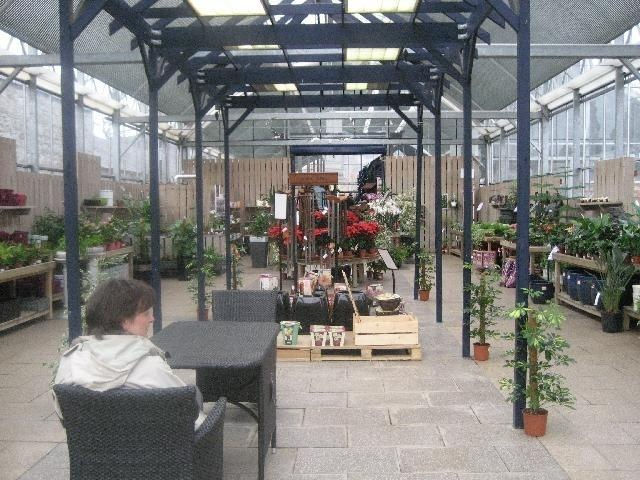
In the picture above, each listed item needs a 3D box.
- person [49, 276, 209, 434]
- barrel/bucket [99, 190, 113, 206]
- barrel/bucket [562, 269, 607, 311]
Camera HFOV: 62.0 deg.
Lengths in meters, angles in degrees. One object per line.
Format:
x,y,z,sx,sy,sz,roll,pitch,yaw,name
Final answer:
-1.096,0.607,2.931,0.768,0.779,0.599,7,9,25,person
-4.629,-0.908,11.589,0.313,0.347,0.326,0,-5,0,barrel/bucket
3.976,0.732,8.127,0.501,0.384,0.435,4,-4,-31,barrel/bucket
